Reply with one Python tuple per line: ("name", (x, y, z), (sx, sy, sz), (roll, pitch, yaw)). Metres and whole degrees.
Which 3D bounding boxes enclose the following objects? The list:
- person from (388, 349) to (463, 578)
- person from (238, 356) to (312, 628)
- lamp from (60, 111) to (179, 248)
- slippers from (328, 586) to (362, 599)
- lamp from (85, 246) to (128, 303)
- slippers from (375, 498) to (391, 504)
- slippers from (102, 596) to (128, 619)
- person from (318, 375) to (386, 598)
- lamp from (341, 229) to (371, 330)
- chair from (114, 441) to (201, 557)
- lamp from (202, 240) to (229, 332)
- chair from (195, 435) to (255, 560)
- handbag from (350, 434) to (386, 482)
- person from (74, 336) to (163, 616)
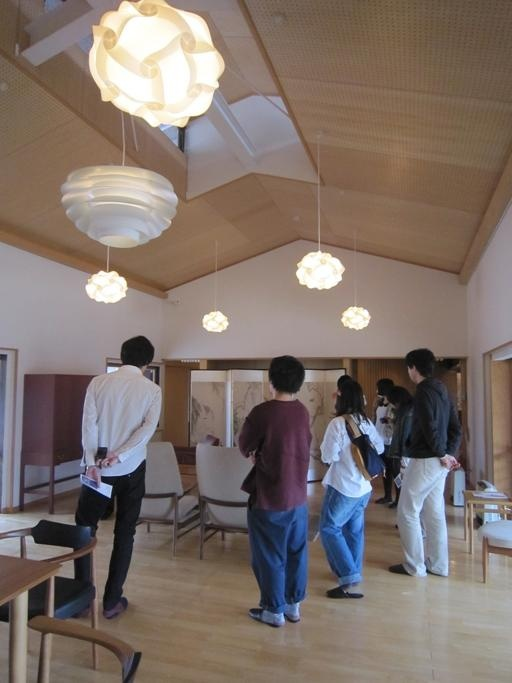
("person", (1.251, 0.897, 3.848), (0.523, 1.676, 0.529), (-2, -5, 22))
("person", (0.114, 0.866, 3.017), (0.430, 1.560, 0.351), (1, -5, -7))
("lamp", (-0.639, -0.627, 2.439), (0.529, 0.279, 0.414), (2, -5, -22))
("slippers", (0.590, 1.629, 3.402), (0.216, 0.079, 0.089), (-1, -4, 11))
("lamp", (-1.682, -0.640, 5.824), (0.327, 0.350, 0.370), (0, -5, 5))
("slippers", (1.550, 1.941, 6.274), (0.207, 0.069, 0.080), (5, -13, -14))
("slippers", (-0.836, 1.615, 3.116), (0.062, 0.057, 0.126), (6, 6, 20))
("person", (0.652, 0.985, 3.510), (0.414, 1.428, 0.369), (-1, -5, 13))
("lamp", (1.546, -0.885, 8.027), (0.460, 1.466, 1.290), (-1, -5, 12))
("chair", (-0.817, 1.316, 4.417), (0.487, 0.710, 0.456), (-1, -10, -13))
("lamp", (-0.657, -0.810, 8.682), (0.438, 1.372, 1.341), (1, -5, -4))
("chair", (-0.164, 1.275, 4.316), (0.557, 0.949, 0.675), (0, 3, 17))
("handbag", (0.738, 0.746, 3.428), (0.210, 0.278, 0.148), (-14, -8, -42))
("person", (-0.814, 0.803, 3.125), (0.463, 1.702, 0.364), (2, -5, -27))
